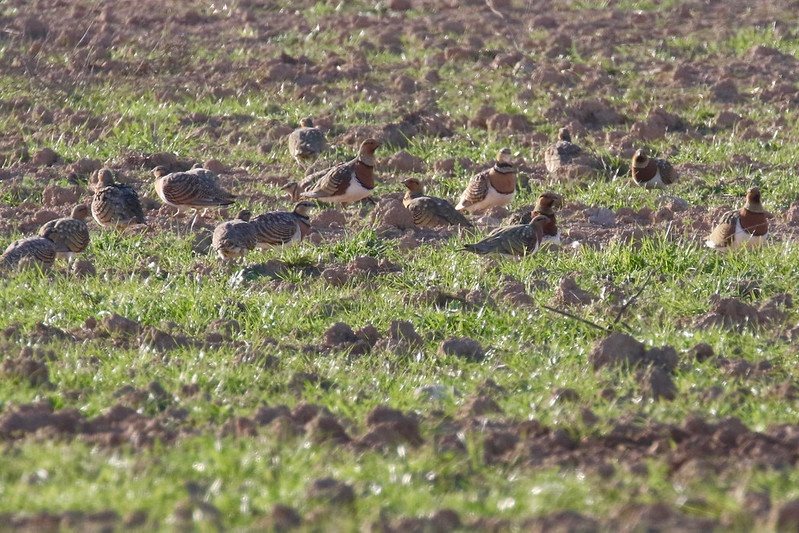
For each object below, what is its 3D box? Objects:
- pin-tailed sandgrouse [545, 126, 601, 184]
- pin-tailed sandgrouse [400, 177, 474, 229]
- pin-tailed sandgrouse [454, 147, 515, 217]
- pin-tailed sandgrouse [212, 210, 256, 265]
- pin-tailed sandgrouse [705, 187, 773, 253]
[{"bbox_3d":[2.388,-1.520,14.261,0.472,0.544,0.843,1,24,-5],"label":"pin-tailed sandgrouse"},{"bbox_3d":[0.412,-0.720,12.209,0.944,0.575,0.441,13,26,24],"label":"pin-tailed sandgrouse"},{"bbox_3d":[1.071,-1.058,13.011,0.619,0.866,1.066,0,9,-36],"label":"pin-tailed sandgrouse"},{"bbox_3d":[-1.740,-0.279,10.862,0.456,0.395,0.477,-8,41,-9],"label":"pin-tailed sandgrouse"},{"bbox_3d":[3.591,-0.433,11.106,0.572,0.755,0.988,-2,0,-21],"label":"pin-tailed sandgrouse"}]
